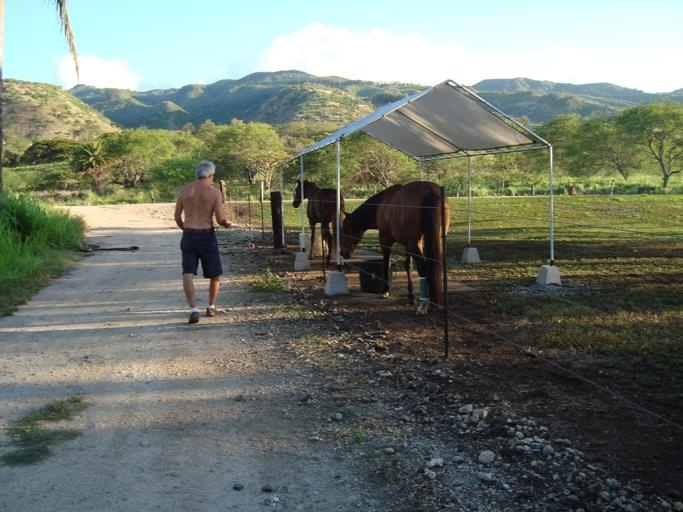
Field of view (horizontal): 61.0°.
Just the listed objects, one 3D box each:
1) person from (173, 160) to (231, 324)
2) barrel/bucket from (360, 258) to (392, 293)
[{"bbox_3d":[-2.055,-0.224,8.550,0.758,2.324,0.839,-6,10,-29],"label":"person"},{"bbox_3d":[0.544,0.385,10.225,0.785,0.406,0.604,1,4,-3],"label":"barrel/bucket"}]
